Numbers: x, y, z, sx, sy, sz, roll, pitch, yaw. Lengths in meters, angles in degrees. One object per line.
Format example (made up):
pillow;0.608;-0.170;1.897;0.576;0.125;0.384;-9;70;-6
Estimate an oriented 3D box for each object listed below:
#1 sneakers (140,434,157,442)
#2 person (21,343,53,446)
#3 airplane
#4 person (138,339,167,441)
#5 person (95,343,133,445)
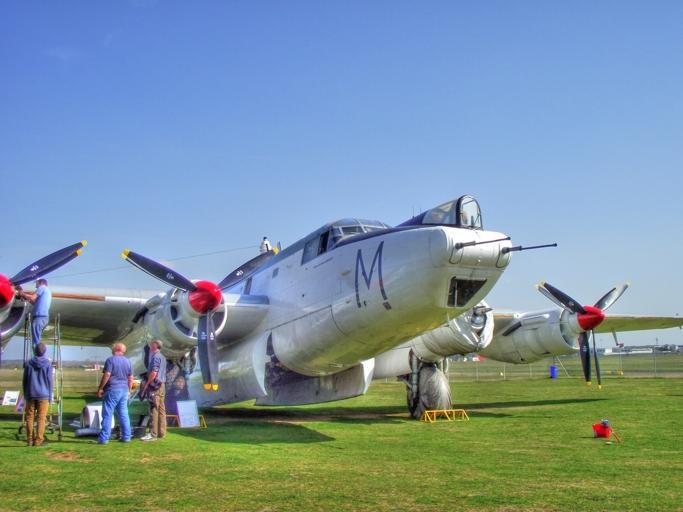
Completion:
sneakers;-3.718;3.560;11.883;0.325;0.101;0.102;4;-7;-4
person;-5.615;2.545;11.311;0.506;1.861;0.636;2;-14;-23
airplane;-0.696;1.807;15.927;15.073;4.995;8.662;-2;-10;3
person;-3.755;2.675;12.297;0.464;1.922;0.711;1;-13;-16
person;-4.332;2.618;11.782;0.610;1.883;0.814;1;-13;-18
